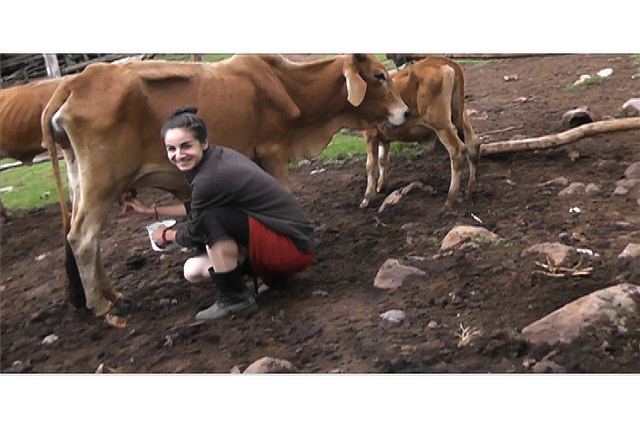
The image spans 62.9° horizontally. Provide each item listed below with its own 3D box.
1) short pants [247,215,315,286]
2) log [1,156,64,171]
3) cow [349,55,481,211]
[{"bbox_3d":[-0.346,0.325,4.372,0.555,0.615,0.412,2,0,-17],"label":"short pants"},{"bbox_3d":[-2.751,-0.480,4.960,0.418,0.043,0.054,-20,65,-19],"label":"log"},{"bbox_3d":[0.834,-1.020,6.280,0.622,1.665,2.351,-9,11,-42],"label":"cow"}]
